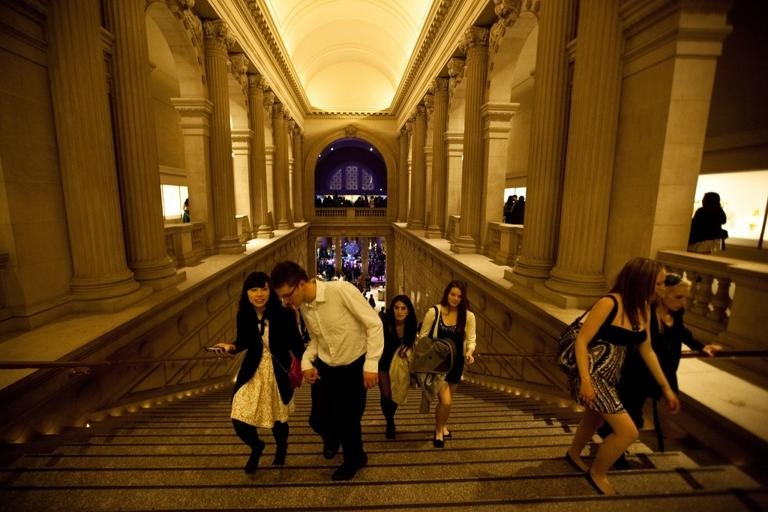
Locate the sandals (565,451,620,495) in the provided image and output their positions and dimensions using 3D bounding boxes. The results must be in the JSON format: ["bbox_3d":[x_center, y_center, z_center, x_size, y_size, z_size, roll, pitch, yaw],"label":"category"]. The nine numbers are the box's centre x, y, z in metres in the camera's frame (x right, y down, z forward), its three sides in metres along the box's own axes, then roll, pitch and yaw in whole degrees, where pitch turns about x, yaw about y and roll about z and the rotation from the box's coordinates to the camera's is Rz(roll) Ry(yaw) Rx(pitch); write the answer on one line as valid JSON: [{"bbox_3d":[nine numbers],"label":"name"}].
[{"bbox_3d":[2.068,2.173,4.851,0.155,0.173,0.471,-3,40,-50],"label":"sandals"}]

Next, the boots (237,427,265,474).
[{"bbox_3d":[-1.411,1.923,5.068,0.274,0.478,0.389,-4,11,-19],"label":"boots"}]

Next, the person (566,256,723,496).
[{"bbox_3d":[2.325,1.110,4.890,0.960,2.221,0.691,-5,12,-22],"label":"person"}]

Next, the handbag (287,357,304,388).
[{"bbox_3d":[-0.936,1.207,5.104,0.107,0.201,0.256,-7,27,3],"label":"handbag"}]

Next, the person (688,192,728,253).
[{"bbox_3d":[4.642,-0.474,6.962,0.451,0.860,0.294,4,12,23],"label":"person"}]
